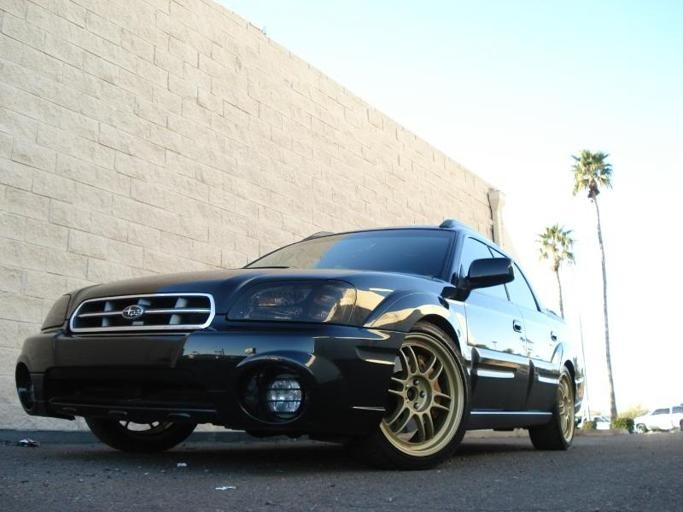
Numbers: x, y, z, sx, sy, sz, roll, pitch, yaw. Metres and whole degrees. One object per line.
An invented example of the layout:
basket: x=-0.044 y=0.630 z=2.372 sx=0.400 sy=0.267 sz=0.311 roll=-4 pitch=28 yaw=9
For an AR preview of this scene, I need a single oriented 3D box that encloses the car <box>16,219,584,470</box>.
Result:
car: x=0.248 y=0.587 z=4.109 sx=2.460 sy=1.122 sz=3.751 roll=-13 pitch=-22 yaw=37
